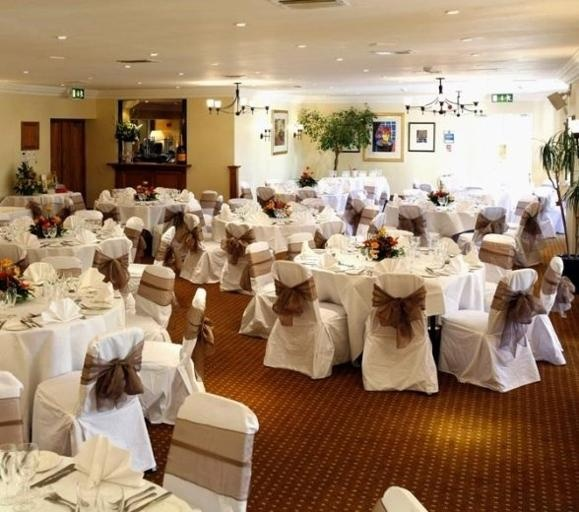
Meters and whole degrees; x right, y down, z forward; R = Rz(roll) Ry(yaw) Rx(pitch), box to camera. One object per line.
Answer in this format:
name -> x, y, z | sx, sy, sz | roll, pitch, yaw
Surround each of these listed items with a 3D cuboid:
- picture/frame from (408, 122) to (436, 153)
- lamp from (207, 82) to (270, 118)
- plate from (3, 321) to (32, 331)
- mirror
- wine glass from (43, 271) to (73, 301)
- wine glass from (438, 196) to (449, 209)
picture/frame -> 5.146, -4.595, 16.761 | 0.973, 1.210, 0.079 | 1, 5, 11
lamp -> -1.726, -4.550, 13.231 | 1.278, 0.753, 1.316 | 0, 3, -31
plate -> -1.899, 0.485, 3.018 | 0.239, 0.021, 0.137 | 6, 11, 33
mirror -> -4.538, -3.909, 14.582 | 2.305, 2.537, 0.841 | -2, -14, -11
wine glass -> -1.902, 0.258, 3.607 | 0.207, 0.278, 0.261 | 2, 4, -11
wine glass -> 3.350, -1.164, 9.422 | 0.188, 0.239, 0.201 | 1, 4, 2
